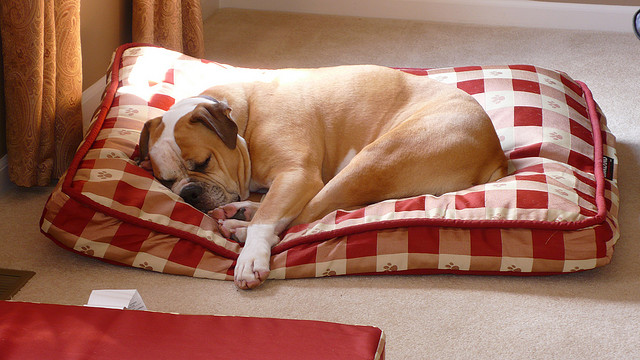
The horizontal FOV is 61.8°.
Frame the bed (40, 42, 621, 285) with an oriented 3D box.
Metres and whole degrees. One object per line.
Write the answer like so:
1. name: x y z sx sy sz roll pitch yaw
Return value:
1. bed: 0.088 0.097 2.729 2.288 0.512 1.533 4 39 6
